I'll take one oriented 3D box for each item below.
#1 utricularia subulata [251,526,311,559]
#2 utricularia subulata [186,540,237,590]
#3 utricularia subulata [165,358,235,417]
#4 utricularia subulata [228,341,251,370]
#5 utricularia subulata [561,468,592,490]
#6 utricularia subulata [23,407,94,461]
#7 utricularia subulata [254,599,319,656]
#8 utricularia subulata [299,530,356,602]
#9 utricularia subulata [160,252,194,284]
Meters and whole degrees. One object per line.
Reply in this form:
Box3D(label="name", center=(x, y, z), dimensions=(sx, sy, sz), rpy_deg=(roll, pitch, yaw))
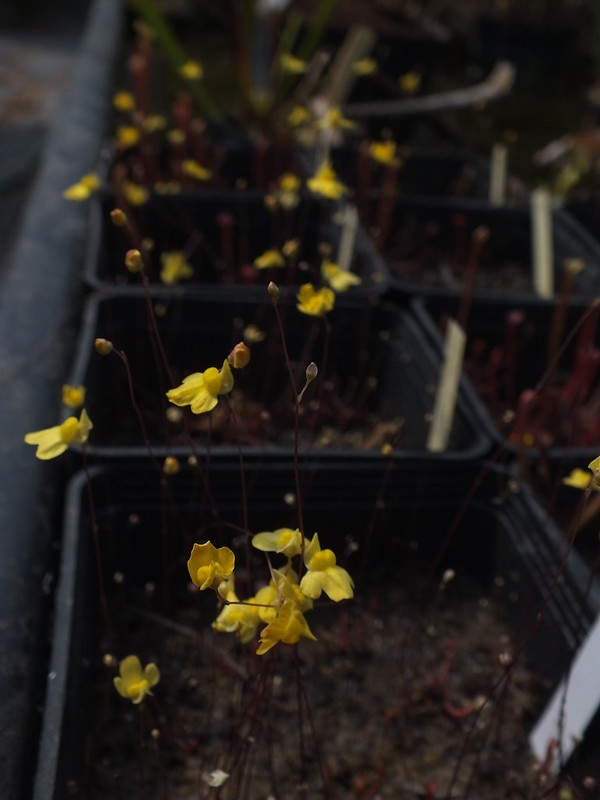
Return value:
Box3D(label="utricularia subulata", center=(-0.012, 0.091, 0.583), dimensions=(0.029, 0.014, 0.028), rpy_deg=(-5, 17, -21))
Box3D(label="utricularia subulata", center=(-0.059, 0.109, 0.554), dimensions=(0.032, 0.018, 0.032), rpy_deg=(-11, 67, -3))
Box3D(label="utricularia subulata", center=(-0.063, -0.010, 0.565), dimensions=(0.047, 0.019, 0.032), rpy_deg=(-27, 45, 20))
Box3D(label="utricularia subulata", center=(-0.040, -0.026, 0.558), dimensions=(0.017, 0.025, 0.017), rpy_deg=(2, 79, -10))
Box3D(label="utricularia subulata", center=(0.233, 0.069, 0.731), dimensions=(0.029, 0.008, 0.026), rpy_deg=(6, 53, 15))
Box3D(label="utricularia subulata", center=(-0.164, 0.026, 0.584), dimensions=(0.051, 0.021, 0.031), rpy_deg=(-6, 43, 3))
Box3D(label="utricularia subulata", center=(-0.011, 0.147, 0.546), dimensions=(0.041, 0.036, 0.016), rpy_deg=(-1, 48, -3))
Box3D(label="utricularia subulata", center=(0.017, 0.109, 0.557), dimensions=(0.033, 0.035, 0.039), rpy_deg=(4, 42, 1))
Box3D(label="utricularia subulata", center=(-0.157, -0.167, 1.103), dimensions=(0.051, 0.047, 0.014), rpy_deg=(-5, 22, -21))
